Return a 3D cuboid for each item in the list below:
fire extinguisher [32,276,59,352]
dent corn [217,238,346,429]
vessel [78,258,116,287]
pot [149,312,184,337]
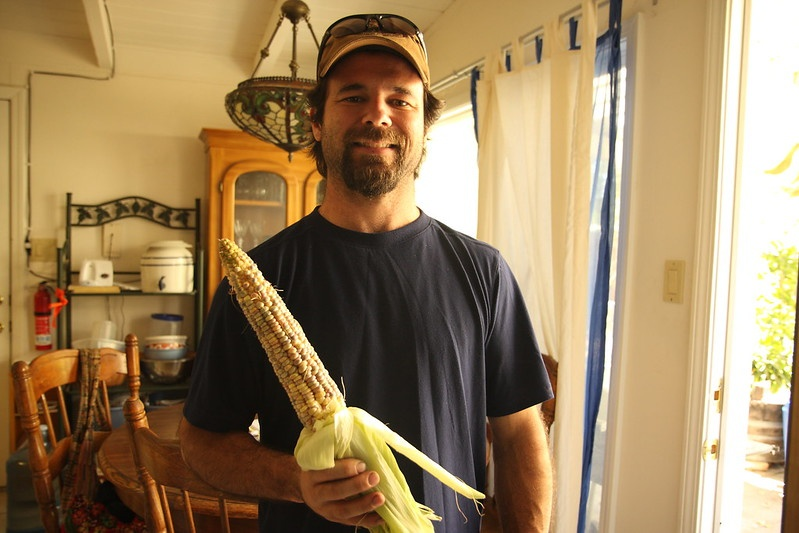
[{"bbox_3d":[-2.567,0.362,5.048,0.143,0.494,0.227,0,-2,-29],"label":"fire extinguisher"},{"bbox_3d":[-0.461,0.290,2.690,0.157,0.753,0.154,-28,-9,10],"label":"dent corn"},{"bbox_3d":[-2.202,0.047,5.079,0.221,0.240,0.179,-1,3,-32],"label":"vessel"},{"bbox_3d":[-1.781,0.438,5.325,0.186,0.221,0.193,1,-1,0],"label":"pot"}]
